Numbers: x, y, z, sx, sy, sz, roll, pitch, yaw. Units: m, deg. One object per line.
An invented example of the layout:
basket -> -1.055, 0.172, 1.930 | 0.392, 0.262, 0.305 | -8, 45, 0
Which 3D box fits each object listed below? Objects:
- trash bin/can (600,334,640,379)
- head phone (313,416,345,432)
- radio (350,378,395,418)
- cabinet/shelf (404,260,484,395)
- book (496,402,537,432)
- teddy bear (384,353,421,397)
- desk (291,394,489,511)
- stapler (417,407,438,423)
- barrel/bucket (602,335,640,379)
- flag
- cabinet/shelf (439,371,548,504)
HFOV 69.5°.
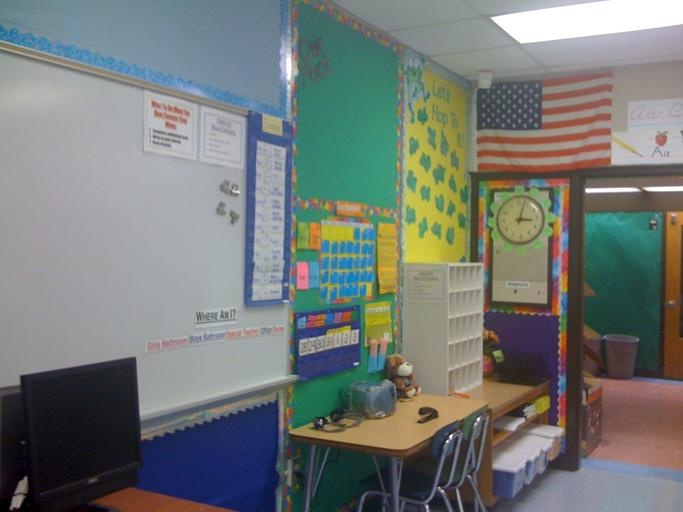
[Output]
trash bin/can -> 4.870, 1.782, 8.752 | 0.591, 0.744, 0.680 | 0, -3, -7
head phone -> -0.074, 1.131, 3.284 | 0.128, 0.057, 0.100 | 2, -2, 24
radio -> 0.233, 1.010, 3.574 | 0.232, 0.187, 0.238 | -2, -4, 35
cabinet/shelf -> 0.881, 0.646, 4.359 | 0.405, 1.301, 1.044 | -2, -5, 27
book -> 1.599, 1.470, 4.542 | 0.414, 0.112, 0.429 | -2, 4, 42
teddy bear -> 0.511, 1.008, 4.058 | 0.277, 0.358, 0.243 | 1, -6, -13
desk -> 0.387, 1.462, 3.463 | 0.859, 0.717, 1.401 | -3, 0, 45
stapler -> 0.595, 1.128, 3.475 | 0.061, 0.104, 0.190 | -17, -16, 42
barrel/bucket -> 4.857, 1.774, 8.746 | 0.590, 0.742, 0.678 | 0, -3, -6
flag -> 2.136, -1.395, 5.062 | 0.935, 0.750, 0.073 | 0, 0, 22
cabinet/shelf -> 1.370, 1.828, 4.379 | 0.730, 1.105, 1.593 | -2, -3, 29
